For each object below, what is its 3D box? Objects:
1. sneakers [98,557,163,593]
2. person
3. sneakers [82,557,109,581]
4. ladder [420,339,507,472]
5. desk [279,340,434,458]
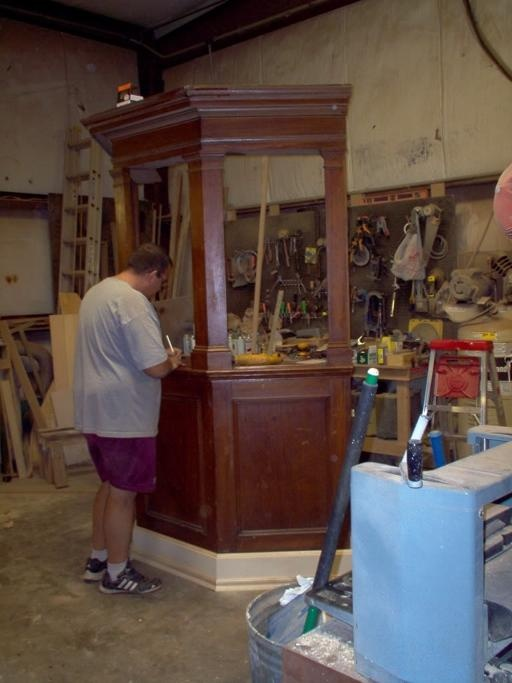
[{"bbox_3d":[-0.657,1.231,3.194,0.359,0.181,0.133,1,-3,-4],"label":"sneakers"},{"bbox_3d":[-0.690,0.419,3.097,0.610,1.802,0.355,-2,3,18],"label":"person"},{"bbox_3d":[-0.885,1.253,3.391,0.084,0.102,0.219,2,4,12],"label":"sneakers"},{"bbox_3d":[1.536,0.485,4.452,0.570,1.031,1.344,-2,3,16],"label":"ladder"},{"bbox_3d":[0.746,0.417,4.765,0.924,1.315,0.948,2,1,37],"label":"desk"}]
